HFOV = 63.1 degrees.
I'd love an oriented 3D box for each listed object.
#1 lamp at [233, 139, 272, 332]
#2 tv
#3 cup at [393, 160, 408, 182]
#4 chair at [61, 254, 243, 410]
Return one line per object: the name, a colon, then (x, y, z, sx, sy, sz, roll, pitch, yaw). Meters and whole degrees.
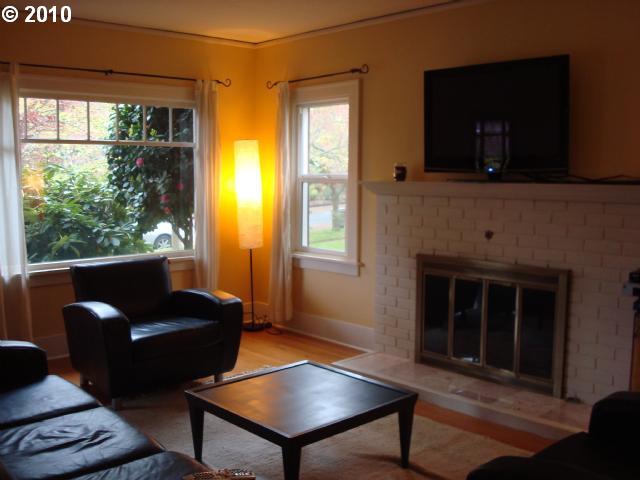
lamp: (-0.731, -0.050, 5.624, 0.337, 2.020, 0.449, -2, 9, -9)
tv: (1.372, -0.925, 3.910, 1.085, 0.750, 0.055, 4, 9, 36)
cup: (0.673, -0.580, 4.396, 0.163, 0.228, 0.148, 0, -1, 3)
chair: (-1.368, 0.668, 4.183, 1.295, 0.959, 1.172, -2, 5, -29)
